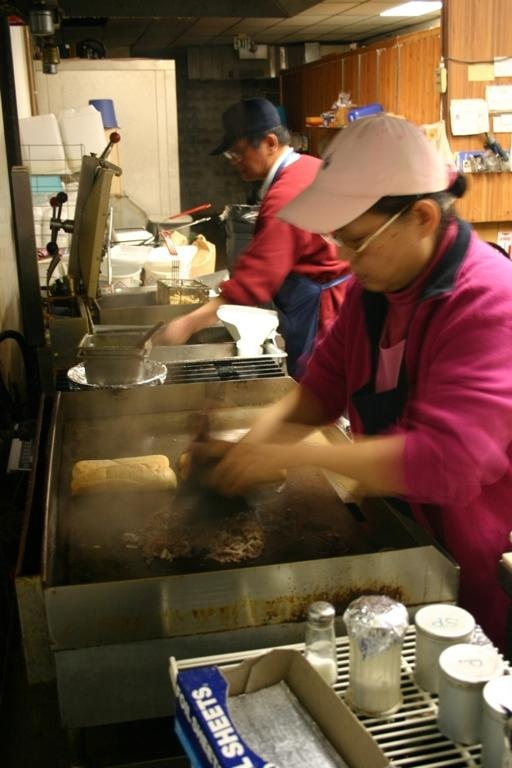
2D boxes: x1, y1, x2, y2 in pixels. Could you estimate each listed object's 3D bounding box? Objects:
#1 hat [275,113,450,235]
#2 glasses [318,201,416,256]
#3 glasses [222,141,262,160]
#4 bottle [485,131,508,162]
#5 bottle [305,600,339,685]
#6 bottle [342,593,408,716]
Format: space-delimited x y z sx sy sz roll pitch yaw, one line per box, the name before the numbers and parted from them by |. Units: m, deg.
hat | 0.161 -0.298 0.904 0.225 0.122 0.143 -20 36 -5
glasses | 0.183 -0.228 0.903 0.071 0.020 0.067 -37 8 -12
glasses | -0.045 -0.888 2.285 0.082 0.043 0.061 -35 38 4
bottle | 1.566 -1.577 3.925 0.059 0.224 0.081 -18 42 51
bottle | 0.081 0.337 0.767 0.041 0.103 0.091 -4 12 3
bottle | 0.144 0.330 0.729 0.079 0.123 0.071 -8 12 -12
